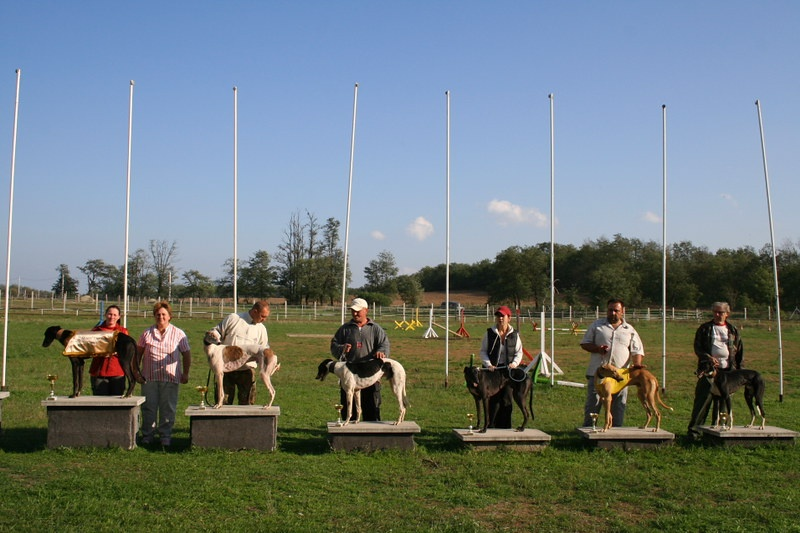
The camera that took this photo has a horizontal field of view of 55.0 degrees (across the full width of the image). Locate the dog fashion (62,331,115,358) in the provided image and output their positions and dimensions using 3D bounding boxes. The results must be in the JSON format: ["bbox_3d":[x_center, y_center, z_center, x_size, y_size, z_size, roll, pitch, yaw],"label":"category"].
[{"bbox_3d":[-6.517,1.633,16.179,0.766,0.254,0.606,1,34,-4],"label":"dog fashion"}]

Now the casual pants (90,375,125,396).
[{"bbox_3d":[-6.416,2.624,16.853,0.717,0.525,0.407,0,-9,-14],"label":"casual pants"}]

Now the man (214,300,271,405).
[{"bbox_3d":[-3.615,2.156,16.916,1.389,2.841,1.001,4,11,-19],"label":"man"}]

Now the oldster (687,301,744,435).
[{"bbox_3d":[7.209,2.316,17.213,1.159,2.975,1.036,-3,8,-6],"label":"oldster"}]

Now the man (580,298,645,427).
[{"bbox_3d":[4.740,2.226,17.249,1.386,3.026,1.094,3,20,15],"label":"man"}]

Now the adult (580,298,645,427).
[{"bbox_3d":[4.781,2.236,17.206,1.318,3.045,1.120,4,19,20],"label":"adult"}]

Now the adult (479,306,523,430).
[{"bbox_3d":[2.159,2.253,16.818,0.866,2.626,0.873,5,10,12],"label":"adult"}]

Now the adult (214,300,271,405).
[{"bbox_3d":[-3.599,2.139,16.963,1.402,2.867,0.953,1,15,-25],"label":"adult"}]
